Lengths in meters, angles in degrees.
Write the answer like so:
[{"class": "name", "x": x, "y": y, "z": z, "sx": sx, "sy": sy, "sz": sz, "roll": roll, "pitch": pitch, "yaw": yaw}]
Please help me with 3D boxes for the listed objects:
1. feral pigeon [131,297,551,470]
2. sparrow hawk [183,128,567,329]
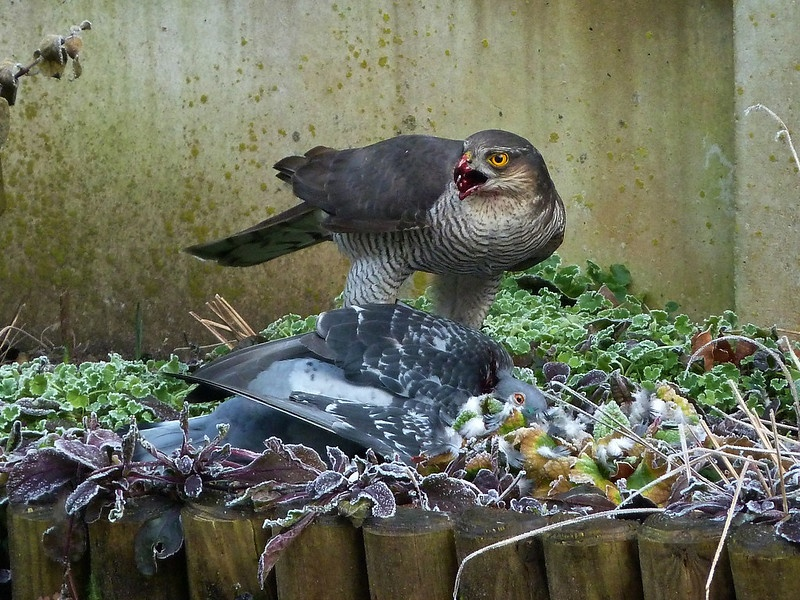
[{"class": "feral pigeon", "x": -0.319, "y": 0.326, "z": 6.313, "sx": 1.532, "sy": 0.695, "sz": 0.815, "roll": 16, "pitch": 14, "yaw": -14}, {"class": "sparrow hawk", "x": -0.106, "y": -0.529, "z": 7.707, "sx": 1.771, "sy": 0.921, "sz": 0.926, "roll": 23, "pitch": 18, "yaw": 35}]
